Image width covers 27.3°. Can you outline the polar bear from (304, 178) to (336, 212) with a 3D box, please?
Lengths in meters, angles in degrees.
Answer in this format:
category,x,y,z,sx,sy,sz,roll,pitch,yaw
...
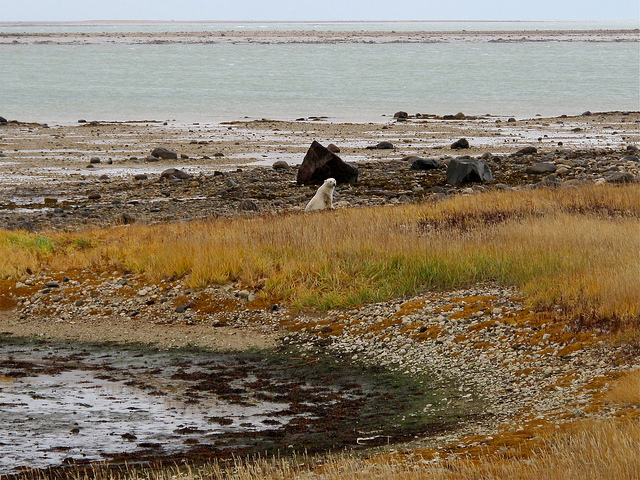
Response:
category,x,y,z,sx,sy,sz,roll,pitch,yaw
polar bear,0.029,-1.695,49.575,1.085,1.227,1.357,5,15,34
